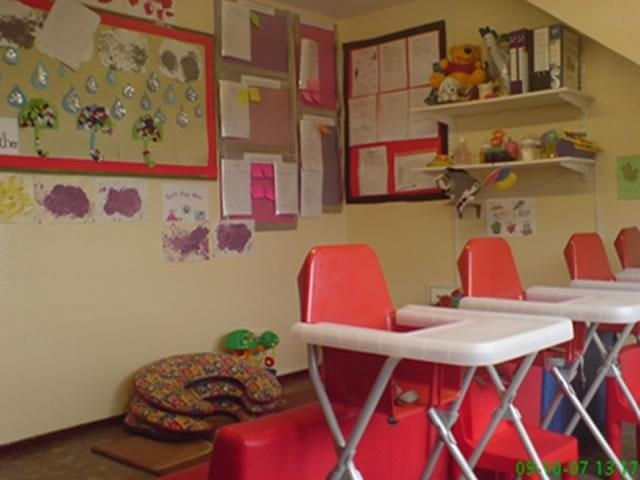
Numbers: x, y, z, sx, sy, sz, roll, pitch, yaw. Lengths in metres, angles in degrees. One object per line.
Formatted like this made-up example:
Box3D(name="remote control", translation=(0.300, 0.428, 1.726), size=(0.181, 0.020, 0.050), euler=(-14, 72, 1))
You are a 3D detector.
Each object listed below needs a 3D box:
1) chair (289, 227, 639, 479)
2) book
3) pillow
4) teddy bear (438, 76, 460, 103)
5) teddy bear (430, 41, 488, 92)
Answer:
Box3D(name="chair", translation=(0.427, 0.304, 1.647), size=(0.866, 0.806, 0.750), euler=(-3, -2, 42))
Box3D(name="book", translation=(1.463, -1.239, 3.568), size=(0.549, 0.575, 0.329), euler=(-5, 0, 42))
Box3D(name="pillow", translation=(-0.752, 0.996, 3.407), size=(0.950, 0.468, 0.449), euler=(-6, 2, -38))
Box3D(name="teddy bear", translation=(0.960, -1.109, 3.879), size=(0.152, 0.175, 0.173), euler=(0, -4, -14))
Box3D(name="teddy bear", translation=(1.076, -1.305, 3.954), size=(0.388, 0.379, 0.225), euler=(9, 6, 30))
